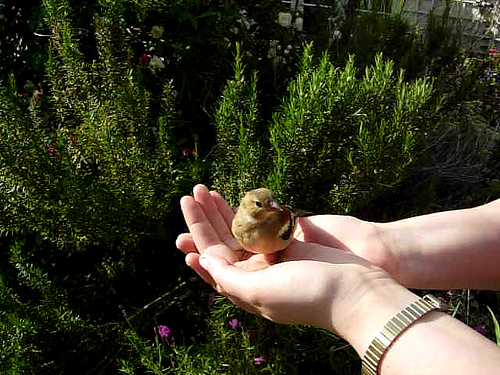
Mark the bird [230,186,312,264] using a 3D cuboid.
[{"bbox_3d":[0.127,0.196,2.924,0.310,0.342,0.476,-1,28,22],"label":"bird"}]
